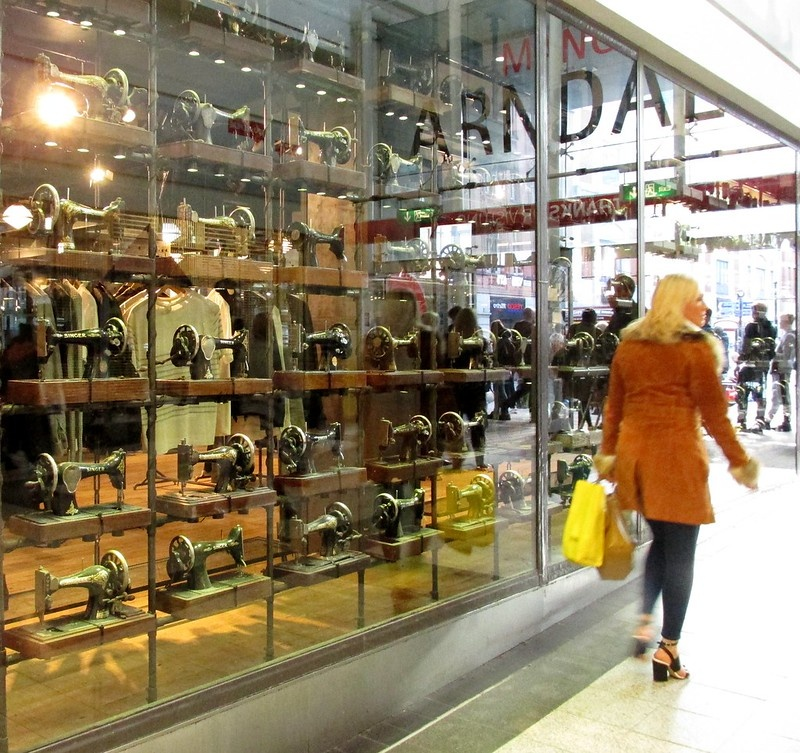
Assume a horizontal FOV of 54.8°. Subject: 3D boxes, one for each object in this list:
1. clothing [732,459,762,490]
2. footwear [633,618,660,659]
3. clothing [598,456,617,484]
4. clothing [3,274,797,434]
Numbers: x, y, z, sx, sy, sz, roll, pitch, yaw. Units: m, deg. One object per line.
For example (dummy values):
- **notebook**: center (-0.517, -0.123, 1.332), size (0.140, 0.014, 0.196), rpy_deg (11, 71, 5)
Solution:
- **clothing**: center (1.323, 0.372, 2.958), size (0.095, 0.116, 0.115), rpy_deg (-8, -6, -10)
- **footwear**: center (1.088, 1.151, 3.448), size (0.095, 0.290, 0.124), rpy_deg (1, 41, 9)
- **clothing**: center (0.840, 0.373, 3.136), size (0.065, 0.099, 0.092), rpy_deg (-2, -20, 6)
- **clothing**: center (0.043, -0.026, 3.454), size (3.408, 0.525, 0.217), rpy_deg (-3, 2, -45)
